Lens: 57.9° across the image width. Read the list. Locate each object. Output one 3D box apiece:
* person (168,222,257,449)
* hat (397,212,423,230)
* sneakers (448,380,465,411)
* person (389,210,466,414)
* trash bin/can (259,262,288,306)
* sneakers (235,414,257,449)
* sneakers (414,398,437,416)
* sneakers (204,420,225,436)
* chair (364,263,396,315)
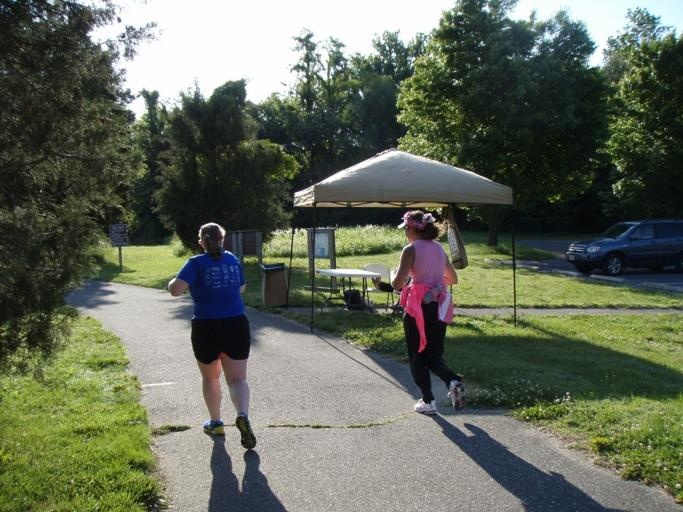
[{"bbox_3d":[-1.342,0.877,7.034,0.966,2.464,0.621,4,8,23],"label":"person"},{"bbox_3d":[0.909,-0.456,8.028,0.262,0.173,0.202,2,10,22],"label":"hat"},{"bbox_3d":[1.398,1.722,7.558,0.165,0.407,0.159,-2,8,-18],"label":"sneakers"},{"bbox_3d":[1.113,0.709,7.936,0.971,2.540,0.818,4,8,23],"label":"person"},{"bbox_3d":[-1.635,0.745,14.807,0.627,1.032,0.735,-1,7,4],"label":"trash bin/can"},{"bbox_3d":[-1.051,1.940,6.835,0.223,0.435,0.248,-1,8,-10],"label":"sneakers"},{"bbox_3d":[1.064,1.920,7.856,0.127,0.169,0.293,1,1,-29],"label":"sneakers"},{"bbox_3d":[-1.494,2.016,7.296,0.248,0.188,0.130,7,2,35],"label":"sneakers"},{"bbox_3d":[0.769,0.528,14.094,0.600,0.949,1.140,-1,-10,16],"label":"chair"}]
